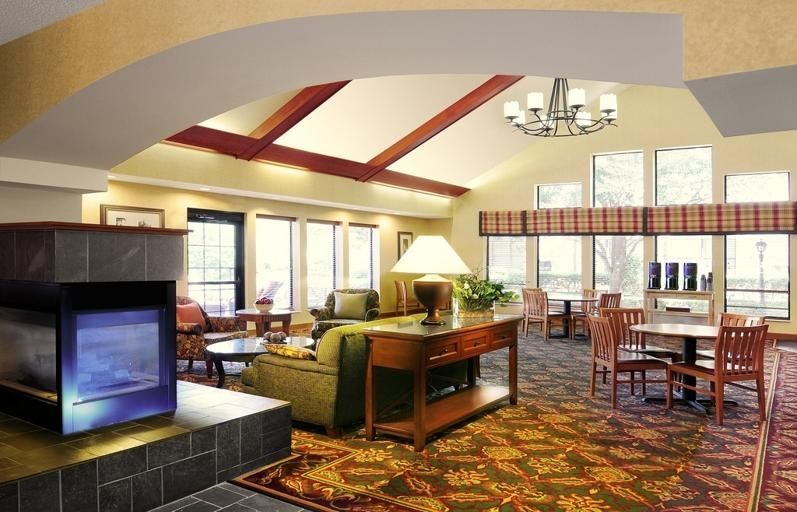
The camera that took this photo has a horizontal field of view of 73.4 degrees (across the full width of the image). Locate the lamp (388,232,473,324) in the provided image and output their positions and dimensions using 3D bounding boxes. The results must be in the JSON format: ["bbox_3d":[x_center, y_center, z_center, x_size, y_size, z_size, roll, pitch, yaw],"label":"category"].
[{"bbox_3d":[0.352,0.236,5.837,1.068,0.858,0.959,0,-2,0],"label":"lamp"}]

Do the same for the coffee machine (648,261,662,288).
[{"bbox_3d":[5.326,0.370,11.126,0.242,0.517,0.507,5,9,22],"label":"coffee machine"}]

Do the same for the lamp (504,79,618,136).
[{"bbox_3d":[2.424,-2.231,7.837,1.660,0.769,1.476,1,1,-3],"label":"lamp"}]

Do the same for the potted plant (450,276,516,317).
[{"bbox_3d":[0.929,0.454,5.961,0.671,0.324,0.577,3,2,16],"label":"potted plant"}]

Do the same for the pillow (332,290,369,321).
[{"bbox_3d":[-0.858,0.899,9.588,0.615,0.446,0.200,2,-31,9],"label":"pillow"}]

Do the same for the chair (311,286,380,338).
[{"bbox_3d":[-0.891,1.047,9.514,1.228,0.800,0.894,1,8,21],"label":"chair"}]

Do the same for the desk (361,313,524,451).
[{"bbox_3d":[0.556,1.255,5.767,0.825,0.976,2.056,-4,-3,34],"label":"desk"}]

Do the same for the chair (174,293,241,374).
[{"bbox_3d":[-2.791,1.086,7.658,1.031,0.882,0.867,1,5,18],"label":"chair"}]

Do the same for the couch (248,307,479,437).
[{"bbox_3d":[-0.672,1.329,6.222,1.337,0.812,2.142,-1,-7,25],"label":"couch"}]

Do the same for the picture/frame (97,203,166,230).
[{"bbox_3d":[-4.150,-0.657,8.408,0.244,0.348,0.985,6,8,27],"label":"picture/frame"}]

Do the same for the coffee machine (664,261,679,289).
[{"bbox_3d":[5.592,0.390,10.919,0.272,0.529,0.392,6,9,25],"label":"coffee machine"}]
